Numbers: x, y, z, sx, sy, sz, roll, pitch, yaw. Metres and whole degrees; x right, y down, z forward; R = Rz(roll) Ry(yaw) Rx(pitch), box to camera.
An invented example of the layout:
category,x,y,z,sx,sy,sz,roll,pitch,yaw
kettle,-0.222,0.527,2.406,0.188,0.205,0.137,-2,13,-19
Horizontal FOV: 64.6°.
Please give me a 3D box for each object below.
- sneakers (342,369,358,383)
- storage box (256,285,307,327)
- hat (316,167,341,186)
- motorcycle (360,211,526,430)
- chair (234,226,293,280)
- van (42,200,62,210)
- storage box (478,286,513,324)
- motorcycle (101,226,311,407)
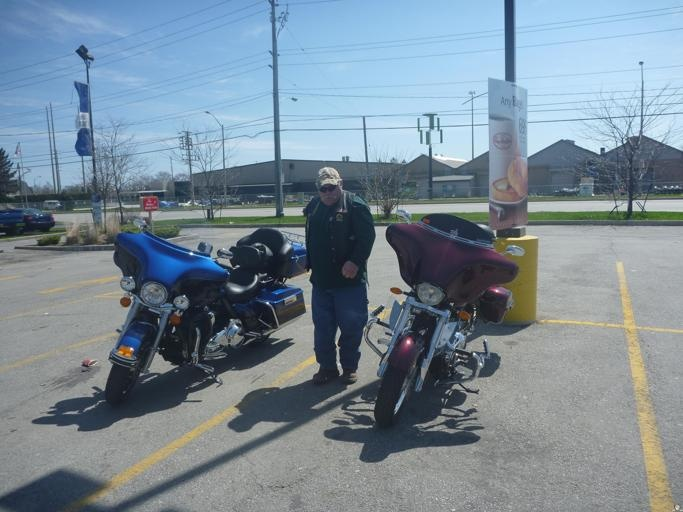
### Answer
category,x,y,z,sx,sy,sz,roll,pitch,yaw
sneakers,0.097,1.308,5.904,0.144,0.126,0.136,-1,-7,13
storage box,-0.752,0.609,6.845,0.244,0.430,0.937,-30,-6,16
hat,-0.137,-0.858,5.864,0.255,0.201,0.443,-3,9,-2
motorcycle,0.913,0.500,5.363,1.703,1.937,1.000,-7,10,-21
chair,-0.998,-0.065,6.905,0.838,0.522,0.757,10,16,18
van,-35.066,-6.038,64.942,2.226,0.964,1.280,-1,17,5
storage box,1.671,0.451,5.999,0.432,0.323,0.330,9,29,12
motorcycle,-1.595,0.502,6.372,1.264,1.630,3.286,15,14,19
